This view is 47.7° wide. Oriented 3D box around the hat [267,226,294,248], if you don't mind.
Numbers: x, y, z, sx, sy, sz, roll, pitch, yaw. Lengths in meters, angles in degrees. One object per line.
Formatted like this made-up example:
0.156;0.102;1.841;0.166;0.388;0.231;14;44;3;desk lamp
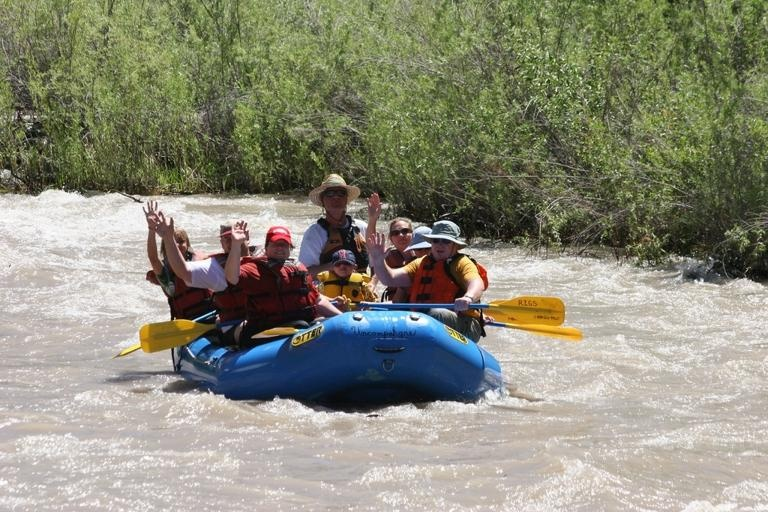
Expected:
-1.039;-0.207;8.466;0.194;0.149;0.293;3;-8;-9;hat

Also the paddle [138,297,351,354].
-1.644;0.813;8.897;1.557;0.305;0.843;-15;2;-29;paddle

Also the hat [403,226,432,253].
0.367;-0.190;9.483;0.285;0.138;0.278;-5;-3;-2;hat

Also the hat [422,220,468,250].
0.552;-0.250;8.580;0.320;0.165;0.345;17;-15;-35;hat

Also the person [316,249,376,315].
-0.434;0.278;8.994;0.682;0.913;0.395;-1;9;-1;person
